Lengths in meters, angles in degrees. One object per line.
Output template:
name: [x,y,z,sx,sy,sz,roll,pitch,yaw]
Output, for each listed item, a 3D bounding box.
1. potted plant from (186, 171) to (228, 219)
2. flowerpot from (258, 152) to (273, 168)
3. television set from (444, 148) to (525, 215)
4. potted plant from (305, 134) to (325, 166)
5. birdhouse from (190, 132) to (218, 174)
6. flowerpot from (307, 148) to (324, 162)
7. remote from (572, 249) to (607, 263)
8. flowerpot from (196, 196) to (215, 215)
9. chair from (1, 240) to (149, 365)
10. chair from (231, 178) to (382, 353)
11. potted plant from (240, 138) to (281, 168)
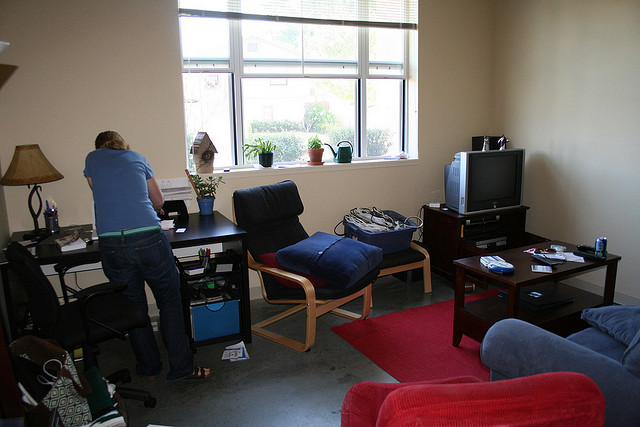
potted plant: [-1.087,-0.195,4.373,0.400,0.402,0.324,-1,3,-9]
flowerpot: [-0.565,-0.574,4.803,0.155,0.110,0.153,-4,15,-19]
television set: [1.856,-0.381,5.085,0.799,0.667,0.362,-7,13,-19]
potted plant: [-0.032,-0.696,5.024,0.196,0.278,0.195,-4,11,-20]
birdhouse: [-1.160,-0.607,4.541,0.250,0.407,0.109,-6,13,-14]
flowerpot: [-0.047,-0.638,4.947,0.142,0.103,0.140,1,10,14]
remote: [2.350,0.368,3.947,0.100,0.036,0.160,-3,12,-39]
flowerpot: [-1.073,-0.080,4.302,0.161,0.144,0.169,10,12,43]
chair: [-1.810,0.574,3.293,0.702,0.920,1.019,-14,16,-41]
chair: [-0.202,0.426,4.203,1.156,1.336,0.910,8,17,42]
potted plant: [-0.633,-0.665,4.844,0.325,0.215,0.322,-10,14,-35]
